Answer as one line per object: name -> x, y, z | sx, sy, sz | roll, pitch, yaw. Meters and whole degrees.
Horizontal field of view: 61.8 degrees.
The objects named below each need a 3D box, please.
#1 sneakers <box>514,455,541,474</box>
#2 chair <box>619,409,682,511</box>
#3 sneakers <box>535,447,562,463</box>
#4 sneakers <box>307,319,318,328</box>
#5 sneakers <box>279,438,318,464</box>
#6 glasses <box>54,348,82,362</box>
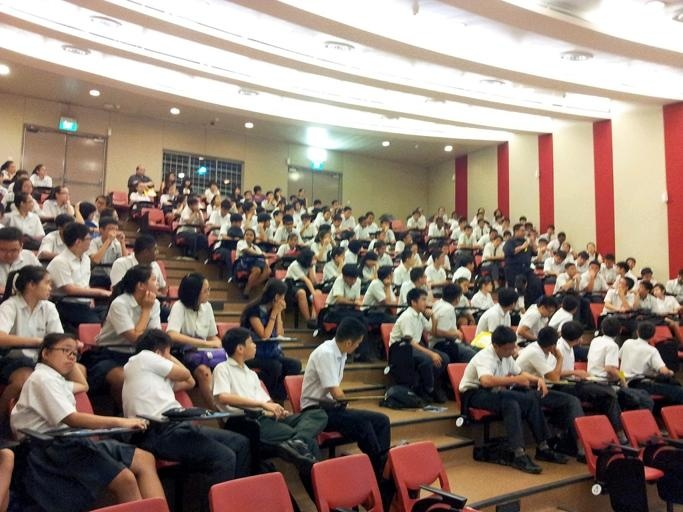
sneakers -> 1.784, 1.978, 5.475 | 0.116, 0.105, 0.225 | 1, -5, -32
chair -> 2.959, 1.790, 5.624 | 0.433, 0.626, 0.543 | -2, -11, -11
sneakers -> 2.095, 1.995, 5.765 | 0.234, 0.110, 0.123 | 1, -3, 13
sneakers -> -0.393, 0.878, 7.391 | 0.105, 0.085, 0.112 | 0, -8, 5
sneakers -> -0.354, 1.515, 4.442 | 0.214, 0.077, 0.094 | 33, 27, 14
glasses -> -2.020, 0.724, 4.258 | 0.112, 0.106, 0.260 | 3, 0, -1
